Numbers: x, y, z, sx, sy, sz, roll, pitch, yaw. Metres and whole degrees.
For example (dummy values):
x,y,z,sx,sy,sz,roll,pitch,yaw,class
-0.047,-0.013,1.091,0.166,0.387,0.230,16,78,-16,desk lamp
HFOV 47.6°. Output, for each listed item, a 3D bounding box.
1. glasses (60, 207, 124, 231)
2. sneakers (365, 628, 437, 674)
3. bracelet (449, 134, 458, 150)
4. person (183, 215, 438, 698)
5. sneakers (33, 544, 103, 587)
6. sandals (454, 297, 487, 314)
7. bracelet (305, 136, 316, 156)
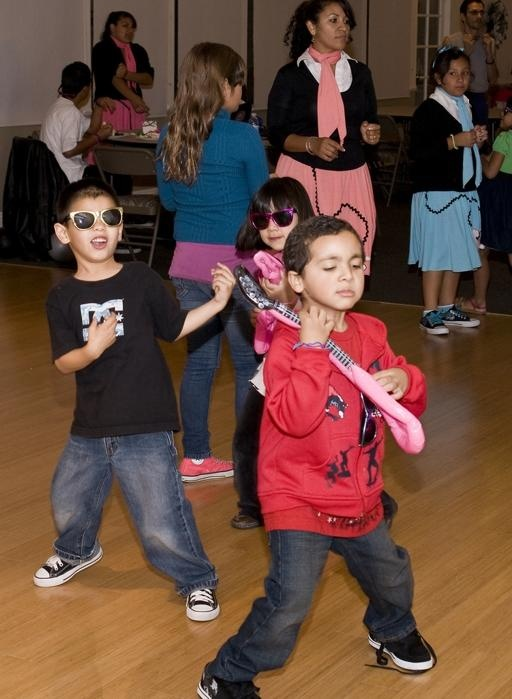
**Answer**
x,y,z,sx,sy,sz,roll,pitch,yaw,class
-0.353,-0.295,1.327,0.153,0.057,0.114,-6,8,-37,glasses
0.290,0.601,1.191,0.082,0.062,0.131,-9,11,-40,sneakers
1.319,-1.388,3.892,0.022,0.083,0.064,-16,1,-43,bracelet
0.120,0.220,1.018,0.272,0.880,0.412,5,9,43,person
-0.526,0.598,1.618,0.186,0.065,0.061,-16,23,-39,sneakers
1.699,-0.343,4.621,0.290,0.102,0.103,20,10,15,sandals
0.241,-0.949,2.690,0.031,0.055,0.078,3,-18,-2,bracelet
